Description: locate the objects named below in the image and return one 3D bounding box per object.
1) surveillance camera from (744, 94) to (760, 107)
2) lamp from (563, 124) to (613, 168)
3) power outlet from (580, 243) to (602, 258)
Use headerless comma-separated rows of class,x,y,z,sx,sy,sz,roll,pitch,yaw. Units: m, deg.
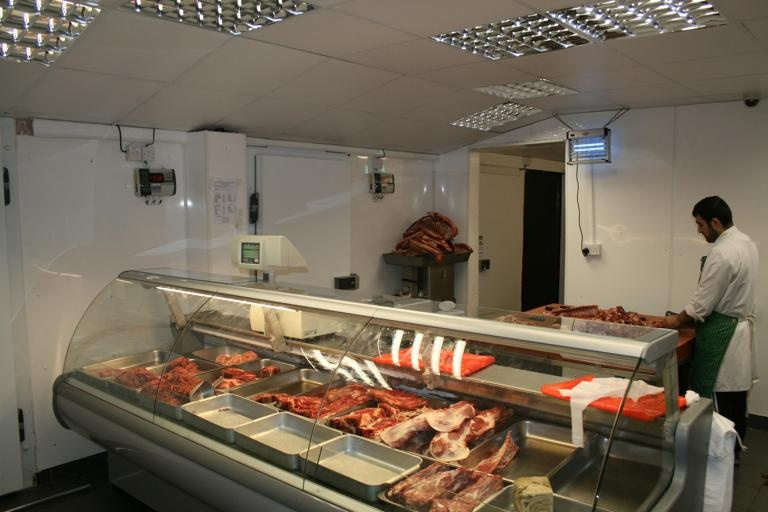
surveillance camera,3.479,-1.467,4.706,0.135,0.104,0.168,7,15,35
lamp,2.271,-1.215,5.506,0.445,0.365,0.164,3,21,35
power outlet,2.342,-0.077,5.622,0.255,0.173,0.133,0,0,41
